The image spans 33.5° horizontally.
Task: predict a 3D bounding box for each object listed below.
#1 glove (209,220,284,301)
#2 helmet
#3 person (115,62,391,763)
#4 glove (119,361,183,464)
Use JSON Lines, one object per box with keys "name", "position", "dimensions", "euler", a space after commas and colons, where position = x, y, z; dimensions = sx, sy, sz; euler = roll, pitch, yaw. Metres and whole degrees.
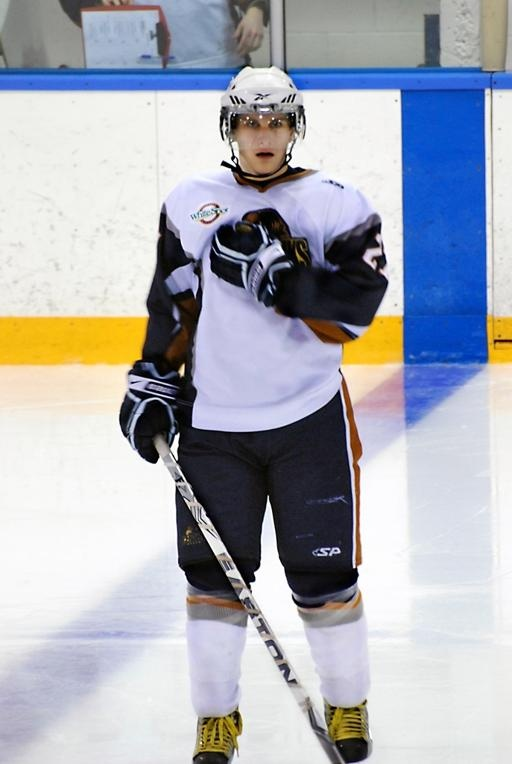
{"name": "glove", "position": [-0.010, -0.204, 1.450], "dimensions": [0.096, 0.112, 0.169], "euler": [-15, 28, -30]}
{"name": "helmet", "position": [0.012, -0.501, 1.578], "dimensions": [0.127, 0.139, 0.150], "euler": [0, 41, -1]}
{"name": "person", "position": [0.077, 0.050, 1.540], "dimensions": [0.413, 1.132, 0.632], "euler": [-23, 33, -39]}
{"name": "glove", "position": [-0.193, 0.054, 1.620], "dimensions": [0.143, 0.178, 0.085], "euler": [8, 7, -3]}
